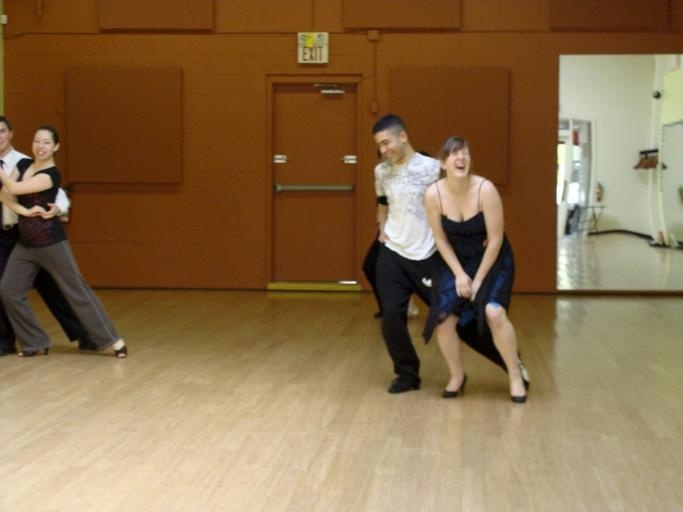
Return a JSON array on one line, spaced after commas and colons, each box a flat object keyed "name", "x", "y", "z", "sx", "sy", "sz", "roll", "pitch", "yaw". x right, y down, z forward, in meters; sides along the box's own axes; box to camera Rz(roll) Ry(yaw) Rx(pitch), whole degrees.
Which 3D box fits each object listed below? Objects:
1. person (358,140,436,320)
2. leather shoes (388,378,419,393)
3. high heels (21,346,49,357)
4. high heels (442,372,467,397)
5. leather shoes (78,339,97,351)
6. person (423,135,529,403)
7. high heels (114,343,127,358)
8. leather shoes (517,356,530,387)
[{"name": "person", "x": 0.555, "y": -0.174, "z": 6.133, "sx": 0.634, "sy": 2.282, "sz": 0.556, "roll": 4, "pitch": -22, "yaw": -4}, {"name": "leather shoes", "x": 0.375, "y": 0.787, "z": 3.908, "sx": 0.198, "sy": 0.095, "sz": 0.078, "roll": 0, "pitch": 2, "yaw": -21}, {"name": "high heels", "x": -2.209, "y": 0.706, "z": 4.599, "sx": 0.141, "sy": 0.067, "sz": 0.081, "roll": 7, "pitch": 0, "yaw": -11}, {"name": "high heels", "x": 0.670, "y": 0.785, "z": 3.855, "sx": 0.180, "sy": 0.154, "sz": 0.079, "roll": 0, "pitch": 3, "yaw": -25}, {"name": "leather shoes", "x": -1.872, "y": 0.660, "z": 4.742, "sx": 0.115, "sy": 0.136, "sz": 0.079, "roll": 1, "pitch": 4, "yaw": -3}, {"name": "person", "x": 0.758, "y": 0.094, "z": 3.636, "sx": 0.564, "sy": 1.485, "sz": 0.323, "roll": 1, "pitch": 14, "yaw": 18}, {"name": "high heels", "x": -1.587, "y": 0.687, "z": 4.588, "sx": 0.048, "sy": 0.042, "sz": 0.148, "roll": -1, "pitch": 10, "yaw": -6}, {"name": "leather shoes", "x": 1.098, "y": 0.710, "z": 3.861, "sx": 0.053, "sy": 0.236, "sz": 0.031, "roll": -13, "pitch": 1, "yaw": -35}]
